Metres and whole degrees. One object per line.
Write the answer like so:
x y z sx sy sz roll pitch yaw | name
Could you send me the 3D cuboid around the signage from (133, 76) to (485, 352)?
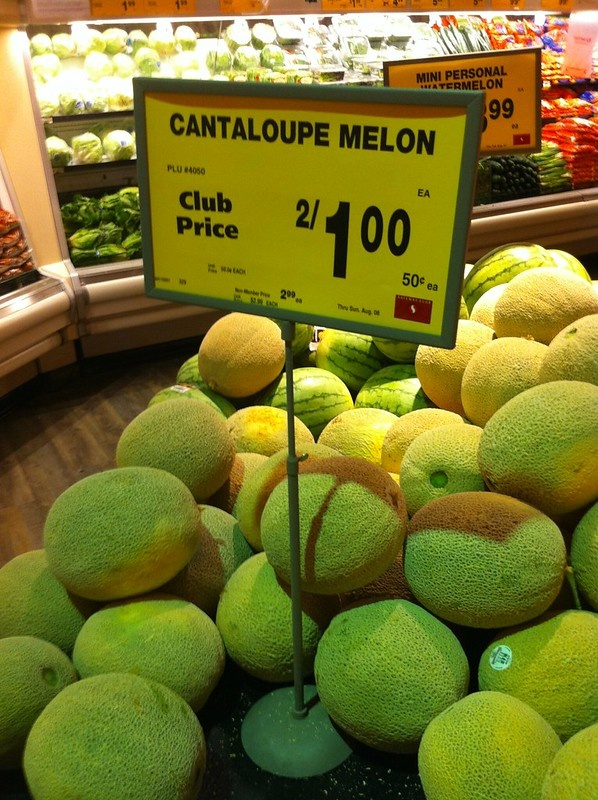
-0.025 -0.232 0.727 0.498 0.291 0.049 19 34 27 | signage
